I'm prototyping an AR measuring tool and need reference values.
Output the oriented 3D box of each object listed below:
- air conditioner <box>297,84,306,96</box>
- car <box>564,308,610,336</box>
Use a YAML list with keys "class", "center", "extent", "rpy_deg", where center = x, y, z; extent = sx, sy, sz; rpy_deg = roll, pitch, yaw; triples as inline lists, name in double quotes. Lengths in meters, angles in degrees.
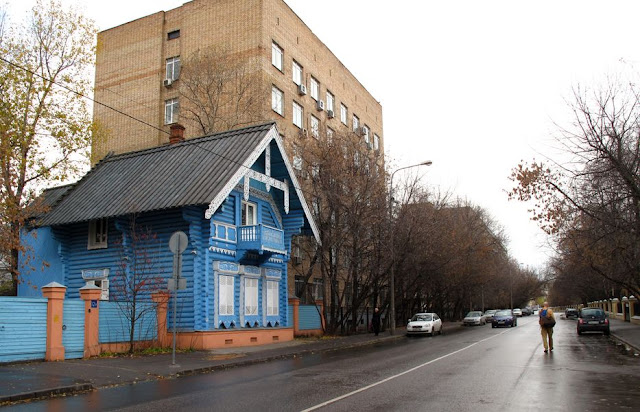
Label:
- class: "air conditioner"
  center: [-1.685, -10.078, 61.536]
  extent: [0.426, 1.003, 0.968]
  rpy_deg: [-8, -12, 28]
- class: "car"
  center: [20.156, 8.683, 52.882]
  extent: [2.158, 2.327, 2.789]
  rpy_deg: [-7, -18, 18]
